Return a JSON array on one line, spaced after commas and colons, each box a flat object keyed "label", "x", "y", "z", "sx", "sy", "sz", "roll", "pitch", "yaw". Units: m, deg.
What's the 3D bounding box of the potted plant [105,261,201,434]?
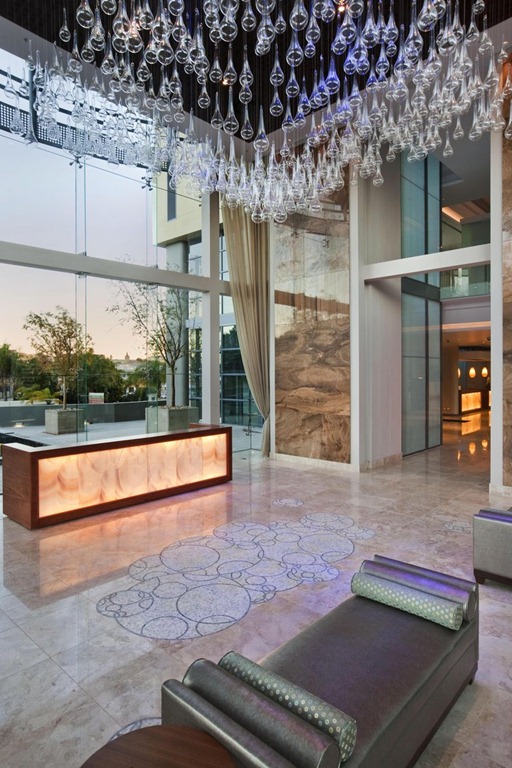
[{"label": "potted plant", "x": -1.422, "y": -0.485, "z": 8.931, "sx": 1.347, "sy": 2.567, "sz": 1.352, "roll": 3, "pitch": -1, "yaw": -21}]
